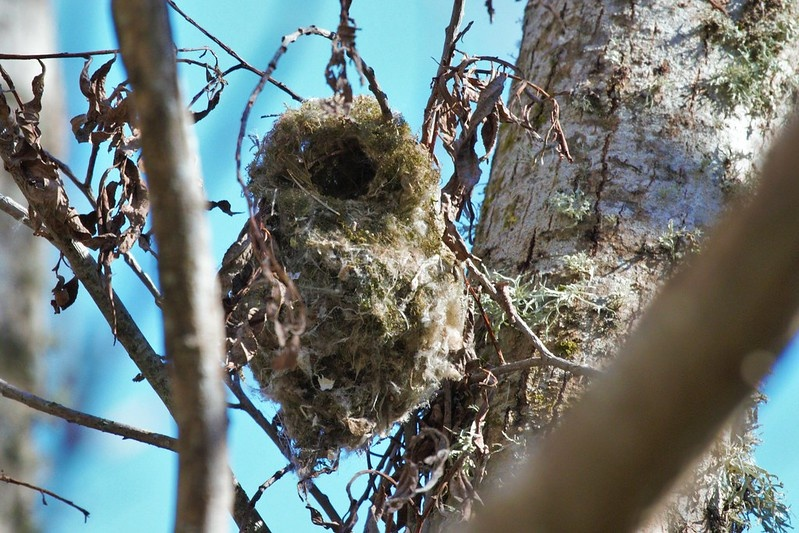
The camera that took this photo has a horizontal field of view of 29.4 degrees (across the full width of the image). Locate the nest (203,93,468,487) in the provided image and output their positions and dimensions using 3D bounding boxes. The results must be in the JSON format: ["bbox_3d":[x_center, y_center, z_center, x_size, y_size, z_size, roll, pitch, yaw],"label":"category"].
[{"bbox_3d":[-0.226,0.072,6.770,0.510,1.628,1.184,-5,-24,-42],"label":"nest"}]
